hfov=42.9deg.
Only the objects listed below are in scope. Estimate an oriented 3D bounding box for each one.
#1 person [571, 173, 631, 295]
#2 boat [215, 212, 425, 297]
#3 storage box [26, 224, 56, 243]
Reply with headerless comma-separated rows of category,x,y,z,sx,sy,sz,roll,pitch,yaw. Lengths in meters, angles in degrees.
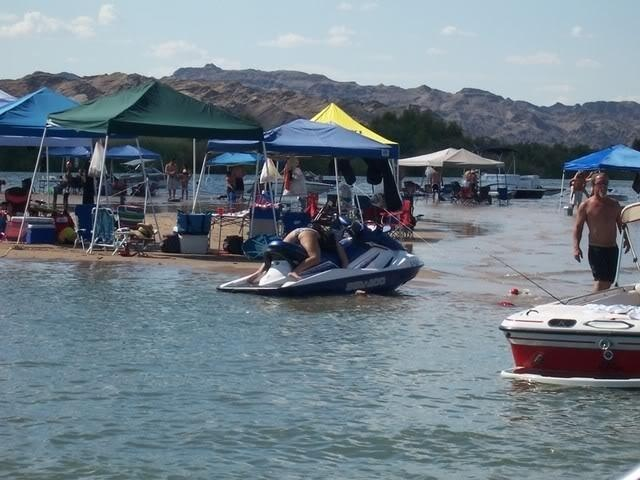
person,4.213,-0.091,12.294,0.888,1.630,0.785,0,0,3
boat,0.303,0.269,13.980,3.835,1.279,0.953,0,3,-18
storage box,-6.677,-0.119,19.505,0.627,0.266,0.515,0,5,-5
